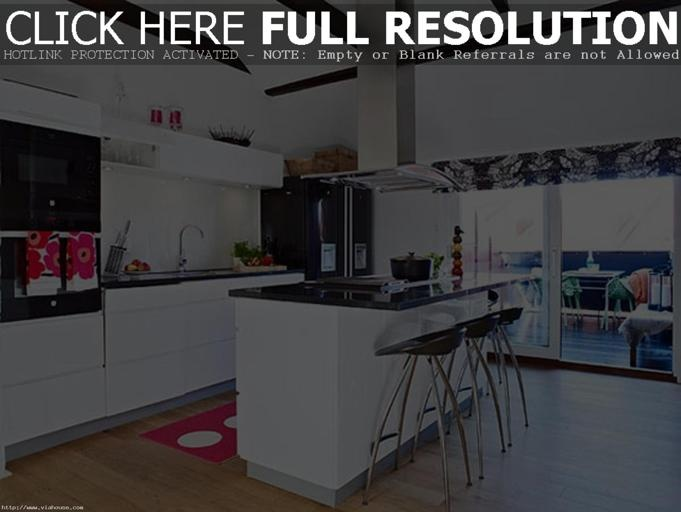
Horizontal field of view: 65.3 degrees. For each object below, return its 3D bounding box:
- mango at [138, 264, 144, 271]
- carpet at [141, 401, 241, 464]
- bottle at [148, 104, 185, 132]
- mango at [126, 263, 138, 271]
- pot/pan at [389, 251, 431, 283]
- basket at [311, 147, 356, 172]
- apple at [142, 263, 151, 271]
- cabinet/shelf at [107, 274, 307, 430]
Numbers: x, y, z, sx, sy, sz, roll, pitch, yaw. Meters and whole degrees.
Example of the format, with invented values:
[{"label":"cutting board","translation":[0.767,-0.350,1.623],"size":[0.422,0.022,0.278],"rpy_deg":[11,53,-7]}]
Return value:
[{"label":"mango","translation":[-2.066,0.116,5.504],"size":[0.040,0.082,0.077],"rpy_deg":[3,4,31]},{"label":"carpet","translation":[-1.148,1.507,4.535],"size":[0.893,0.129,0.688],"rpy_deg":[0,1,29]},{"label":"bottle","translation":[-1.831,-1.454,5.596],"size":[0.389,0.330,0.238],"rpy_deg":[3,6,-9]},{"label":"mango","translation":[-2.143,0.116,5.453],"size":[0.049,0.075,0.113],"rpy_deg":[0,1,28]},{"label":"pot/pan","translation":[0.606,0.102,4.649],"size":[0.258,0.195,0.273],"rpy_deg":[0,-2,-13]},{"label":"basket","translation":[-0.071,-1.171,7.020],"size":[0.455,0.315,0.468],"rpy_deg":[2,3,38]},{"label":"apple","translation":[-2.045,0.108,5.617],"size":[0.066,0.087,0.182],"rpy_deg":[-1,1,-18]},{"label":"cabinet/shelf","translation":[-1.399,0.769,5.715],"size":[0.730,1.390,2.564],"rpy_deg":[-3,0,42]}]
